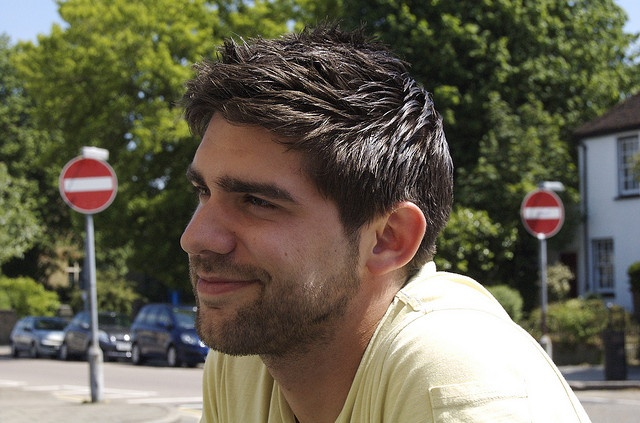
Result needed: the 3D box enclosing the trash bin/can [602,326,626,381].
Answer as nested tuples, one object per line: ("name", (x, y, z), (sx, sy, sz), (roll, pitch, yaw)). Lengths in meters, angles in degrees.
("trash bin/can", (1.418, 0.691, 4.485), (0.105, 0.241, 1.109), (-3, -10, 17))
